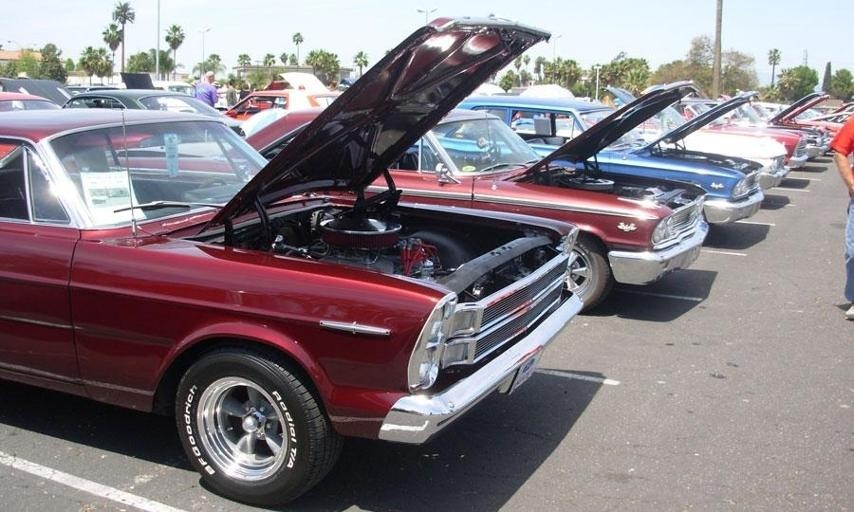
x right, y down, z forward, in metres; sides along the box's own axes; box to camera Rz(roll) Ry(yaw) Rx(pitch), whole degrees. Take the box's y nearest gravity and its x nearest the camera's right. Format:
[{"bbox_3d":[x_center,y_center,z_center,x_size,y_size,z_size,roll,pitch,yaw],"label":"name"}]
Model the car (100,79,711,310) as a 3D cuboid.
[{"bbox_3d":[0.109,-0.683,7.647,6.350,1.627,2.414,7,18,21],"label":"car"}]
